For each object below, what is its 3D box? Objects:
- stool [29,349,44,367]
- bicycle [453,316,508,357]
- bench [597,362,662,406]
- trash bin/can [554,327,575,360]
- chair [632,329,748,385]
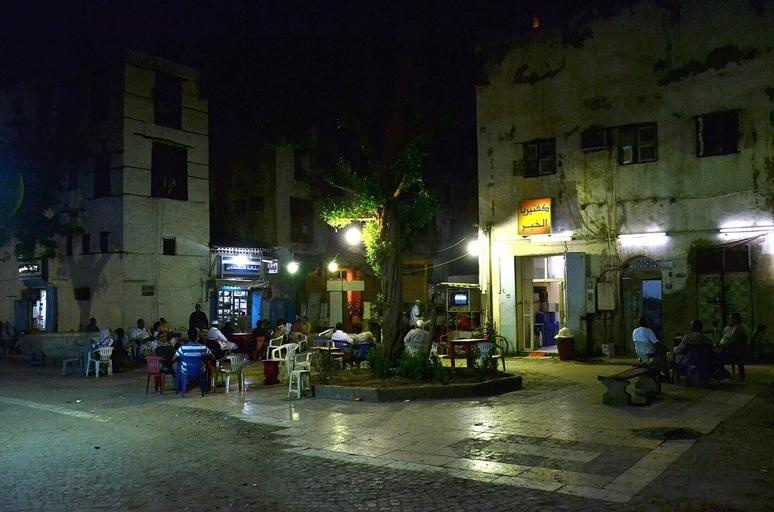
[{"bbox_3d":[-14.208,4.078,29.223,1.219,0.671,0.264,6,12,43],"label":"stool"},{"bbox_3d":[2.957,2.860,25.318,2.376,1.520,1.209,-3,-6,31],"label":"bicycle"},{"bbox_3d":[6.904,3.633,20.326,1.180,0.948,2.316,6,11,40],"label":"bench"},{"bbox_3d":[6.864,3.367,27.462,0.990,1.446,1.006,-4,-4,11],"label":"trash bin/can"},{"bbox_3d":[9.389,3.001,22.548,4.011,2.278,1.556,1,-3,-42],"label":"chair"}]
